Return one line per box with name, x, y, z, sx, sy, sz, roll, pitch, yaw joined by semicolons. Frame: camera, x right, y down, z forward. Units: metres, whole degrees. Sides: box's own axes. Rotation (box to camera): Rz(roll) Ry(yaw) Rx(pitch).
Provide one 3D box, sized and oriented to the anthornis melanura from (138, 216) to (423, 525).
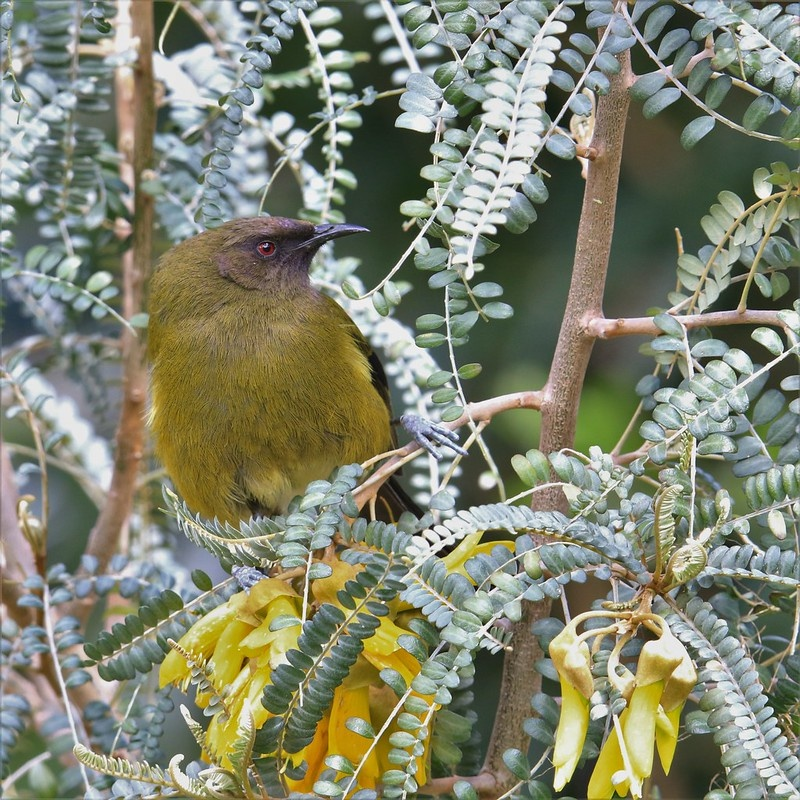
anthornis melanura;-0.382;-0.070;3.558;0.572;0.998;0.923;-8;99;-9
